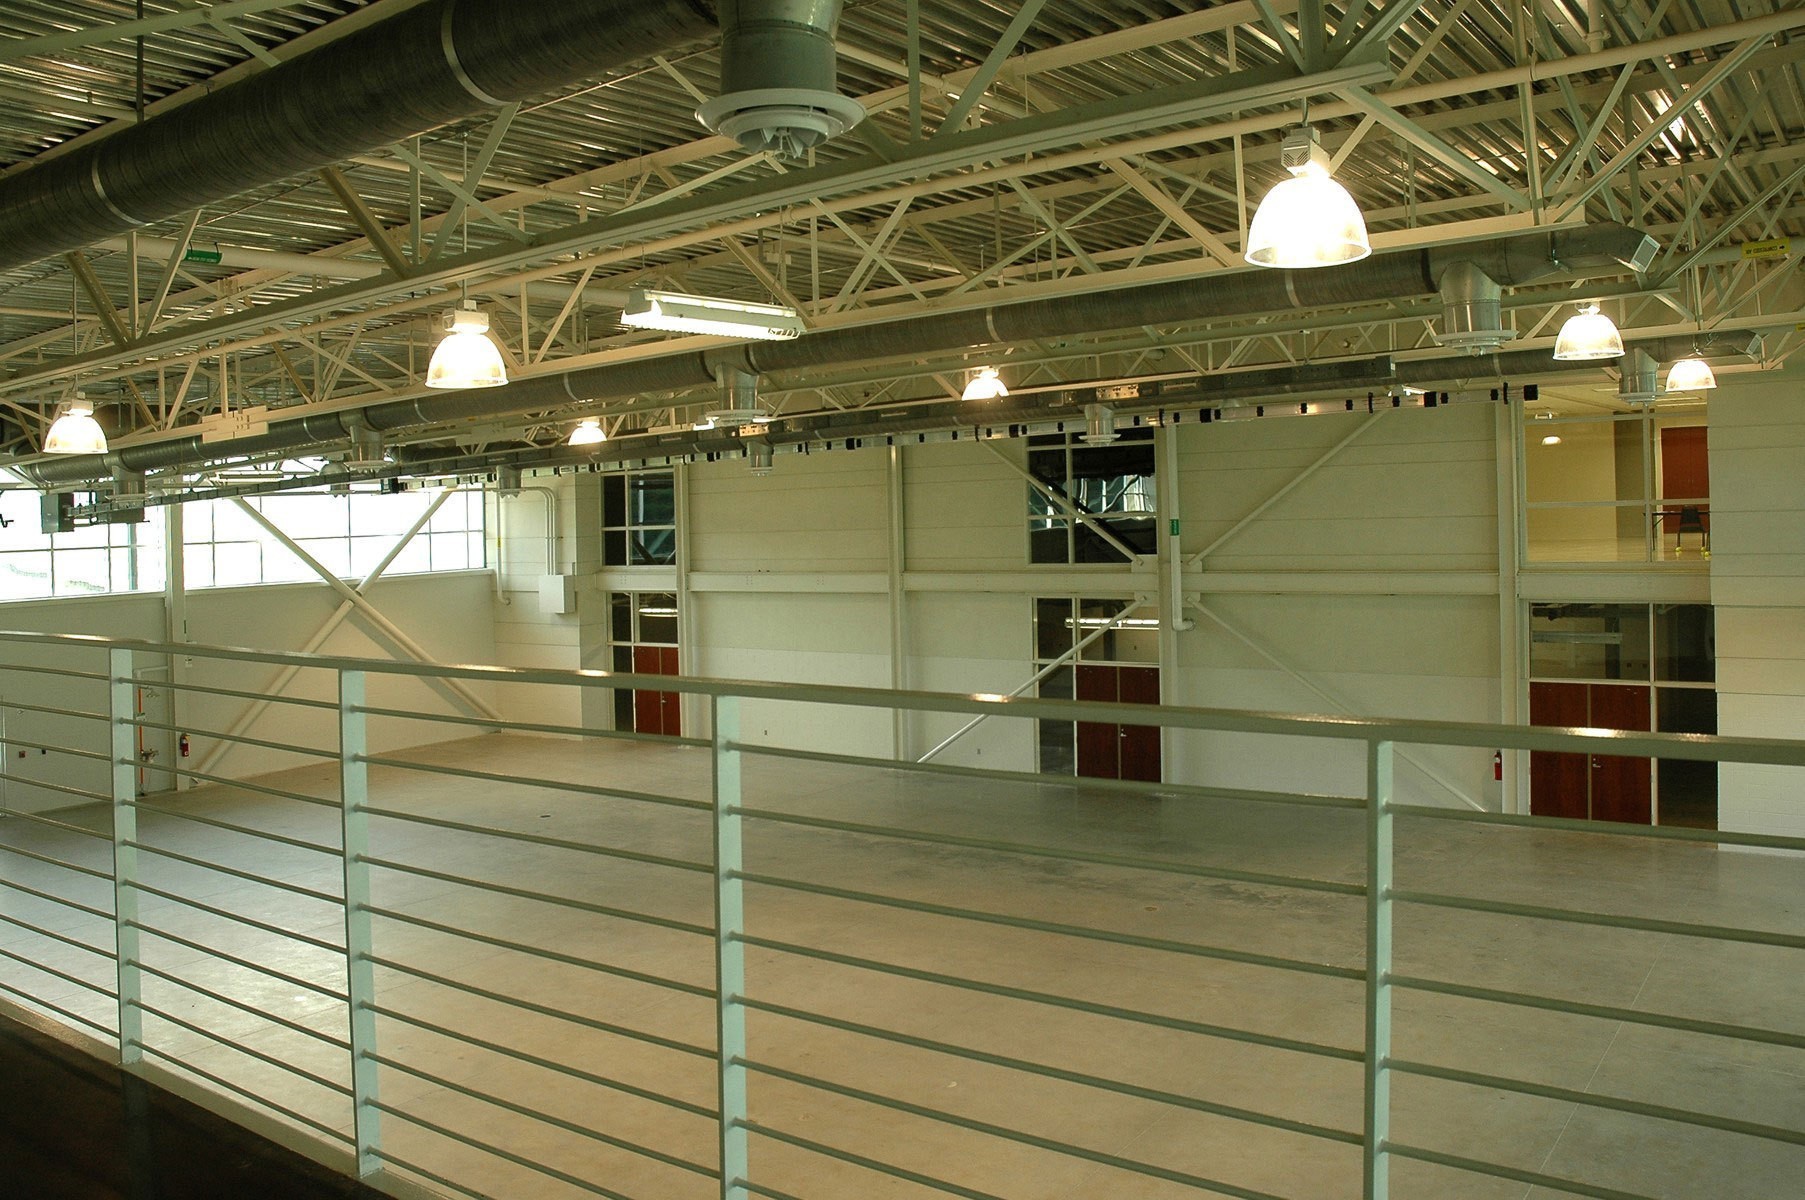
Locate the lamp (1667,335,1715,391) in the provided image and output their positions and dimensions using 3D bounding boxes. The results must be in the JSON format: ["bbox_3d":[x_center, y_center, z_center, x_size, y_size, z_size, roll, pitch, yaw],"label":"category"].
[{"bbox_3d":[8.287,-2.441,14.109,0.357,0.543,1.052,2,6,27],"label":"lamp"}]

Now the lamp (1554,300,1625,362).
[{"bbox_3d":[5.856,-2.293,11.411,0.425,0.487,0.484,2,6,29],"label":"lamp"}]
